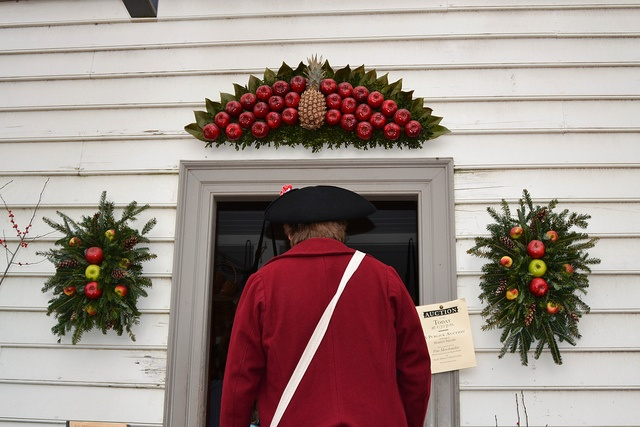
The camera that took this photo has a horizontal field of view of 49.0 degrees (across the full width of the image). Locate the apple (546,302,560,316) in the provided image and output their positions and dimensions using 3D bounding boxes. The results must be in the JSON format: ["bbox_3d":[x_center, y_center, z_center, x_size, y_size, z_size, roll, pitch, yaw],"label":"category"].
[{"bbox_3d":[1.578,0.637,4.740,0.071,0.075,0.067,-5,-55,-2],"label":"apple"}]

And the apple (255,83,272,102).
[{"bbox_3d":[-0.414,-0.877,5.075,0.106,0.111,0.101,-4,-21,1],"label":"apple"}]

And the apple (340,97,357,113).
[{"bbox_3d":[0.207,-0.775,5.032,0.103,0.104,0.105,3,-61,0],"label":"apple"}]

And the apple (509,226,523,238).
[{"bbox_3d":[1.358,0.130,4.845,0.073,0.082,0.091,0,-27,-35],"label":"apple"}]

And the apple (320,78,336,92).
[{"bbox_3d":[0.059,-0.924,5.068,0.094,0.097,0.095,-3,-16,9],"label":"apple"}]

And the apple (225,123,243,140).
[{"bbox_3d":[-0.632,-0.591,5.132,0.111,0.115,0.102,-15,-14,-5],"label":"apple"}]

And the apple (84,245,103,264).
[{"bbox_3d":[-1.592,0.294,4.917,0.110,0.112,0.112,-4,-43,-34],"label":"apple"}]

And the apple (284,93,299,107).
[{"bbox_3d":[-0.206,-0.823,5.102,0.097,0.100,0.098,15,-9,5],"label":"apple"}]

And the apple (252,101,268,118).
[{"bbox_3d":[-0.434,-0.753,5.074,0.102,0.097,0.103,2,-3,-5],"label":"apple"}]

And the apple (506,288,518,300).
[{"bbox_3d":[1.309,0.550,4.782,0.065,0.068,0.067,-1,-24,4],"label":"apple"}]

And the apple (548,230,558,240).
[{"bbox_3d":[1.601,0.145,4.809,0.056,0.058,0.053,0,8,10],"label":"apple"}]

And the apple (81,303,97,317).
[{"bbox_3d":[-1.616,0.673,4.901,0.097,0.072,0.071,7,-22,-18],"label":"apple"}]

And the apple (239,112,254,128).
[{"bbox_3d":[-0.537,-0.686,5.125,0.104,0.105,0.096,-24,1,-5],"label":"apple"}]

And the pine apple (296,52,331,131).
[{"bbox_3d":[-0.041,-0.873,5.086,0.187,0.517,0.180,3,1,1],"label":"pine apple"}]

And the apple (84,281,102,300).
[{"bbox_3d":[-1.589,0.535,4.880,0.113,0.116,0.110,-8,-22,-19],"label":"apple"}]

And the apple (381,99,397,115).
[{"bbox_3d":[0.495,-0.763,5.086,0.100,0.096,0.102,13,-55,9],"label":"apple"}]

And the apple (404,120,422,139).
[{"bbox_3d":[0.668,-0.613,5.035,0.126,0.112,0.088,-3,-21,7],"label":"apple"}]

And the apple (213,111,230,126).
[{"bbox_3d":[-0.712,-0.683,5.107,0.097,0.099,0.092,-20,-35,1],"label":"apple"}]

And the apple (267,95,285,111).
[{"bbox_3d":[-0.320,-0.799,5.112,0.103,0.100,0.106,18,28,31],"label":"apple"}]

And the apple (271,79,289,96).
[{"bbox_3d":[-0.288,-0.907,5.081,0.123,0.099,0.063,0,-21,-1],"label":"apple"}]

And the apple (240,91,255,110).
[{"bbox_3d":[-0.530,-0.820,5.104,0.107,0.108,0.082,-13,-24,31],"label":"apple"}]

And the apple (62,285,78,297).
[{"bbox_3d":[-1.757,0.540,4.899,0.068,0.071,0.045,10,4,-3],"label":"apple"}]

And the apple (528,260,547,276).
[{"bbox_3d":[1.483,0.373,4.786,0.105,0.109,0.101,-5,-24,3],"label":"apple"}]

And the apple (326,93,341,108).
[{"bbox_3d":[0.097,-0.812,5.091,0.099,0.103,0.098,18,-21,-40],"label":"apple"}]

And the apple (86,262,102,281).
[{"bbox_3d":[-1.602,0.405,4.956,0.098,0.098,0.100,13,-62,-12],"label":"apple"}]

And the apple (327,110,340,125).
[{"bbox_3d":[0.093,-0.699,5.079,0.100,0.103,0.099,-6,-30,0],"label":"apple"}]

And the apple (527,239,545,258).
[{"bbox_3d":[1.484,0.246,4.866,0.113,0.113,0.135,-45,-25,4],"label":"apple"}]

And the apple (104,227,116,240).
[{"bbox_3d":[-1.493,0.148,4.993,0.061,0.073,0.060,-38,-50,27],"label":"apple"}]

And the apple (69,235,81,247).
[{"bbox_3d":[-1.737,0.199,4.947,0.075,0.065,0.064,-28,-1,1],"label":"apple"}]

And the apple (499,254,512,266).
[{"bbox_3d":[1.281,0.321,4.840,0.060,0.066,0.071,10,4,-44],"label":"apple"}]

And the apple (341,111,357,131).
[{"bbox_3d":[0.207,-0.660,5.047,0.118,0.103,0.096,8,-22,-20],"label":"apple"}]

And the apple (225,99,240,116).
[{"bbox_3d":[-0.632,-0.765,5.095,0.096,0.098,0.098,15,-29,5],"label":"apple"}]

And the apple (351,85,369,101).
[{"bbox_3d":[0.291,-0.867,5.069,0.118,0.101,0.067,3,-21,-8],"label":"apple"}]

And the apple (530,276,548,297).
[{"bbox_3d":[1.486,0.497,4.811,0.114,0.118,0.114,14,-24,-32],"label":"apple"}]

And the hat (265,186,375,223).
[{"bbox_3d":[-0.005,-0.052,4.458,0.552,0.252,0.544,4,1,11],"label":"hat"}]

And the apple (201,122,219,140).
[{"bbox_3d":[-0.805,-0.592,5.079,0.112,0.116,0.110,2,-43,-6],"label":"apple"}]

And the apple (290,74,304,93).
[{"bbox_3d":[-0.162,-0.941,5.125,0.105,0.109,0.105,-15,-20,6],"label":"apple"}]

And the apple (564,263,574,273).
[{"bbox_3d":[1.718,0.382,4.810,0.033,0.079,0.125,-15,-25,35],"label":"apple"}]

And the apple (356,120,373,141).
[{"bbox_3d":[0.317,-0.603,5.071,0.112,0.114,0.114,12,-42,-7],"label":"apple"}]

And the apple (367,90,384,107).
[{"bbox_3d":[0.396,-0.823,5.046,0.104,0.108,0.104,-4,-36,2],"label":"apple"}]

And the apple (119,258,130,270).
[{"bbox_3d":[-1.380,0.359,4.970,0.047,0.078,0.084,-12,-24,29],"label":"apple"}]

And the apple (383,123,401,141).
[{"bbox_3d":[0.515,-0.596,5.032,0.127,0.113,0.085,-1,-21,1],"label":"apple"}]

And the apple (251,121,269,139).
[{"bbox_3d":[-0.441,-0.605,5.051,0.112,0.117,0.060,5,3,2],"label":"apple"}]

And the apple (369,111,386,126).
[{"bbox_3d":[0.416,-0.671,5.048,0.117,0.099,0.067,-2,-21,4],"label":"apple"}]

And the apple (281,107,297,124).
[{"bbox_3d":[-0.220,-0.703,5.093,0.105,0.109,0.101,18,3,0],"label":"apple"}]

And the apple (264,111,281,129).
[{"bbox_3d":[-0.347,-0.679,5.055,0.109,0.113,0.108,0,0,0],"label":"apple"}]
